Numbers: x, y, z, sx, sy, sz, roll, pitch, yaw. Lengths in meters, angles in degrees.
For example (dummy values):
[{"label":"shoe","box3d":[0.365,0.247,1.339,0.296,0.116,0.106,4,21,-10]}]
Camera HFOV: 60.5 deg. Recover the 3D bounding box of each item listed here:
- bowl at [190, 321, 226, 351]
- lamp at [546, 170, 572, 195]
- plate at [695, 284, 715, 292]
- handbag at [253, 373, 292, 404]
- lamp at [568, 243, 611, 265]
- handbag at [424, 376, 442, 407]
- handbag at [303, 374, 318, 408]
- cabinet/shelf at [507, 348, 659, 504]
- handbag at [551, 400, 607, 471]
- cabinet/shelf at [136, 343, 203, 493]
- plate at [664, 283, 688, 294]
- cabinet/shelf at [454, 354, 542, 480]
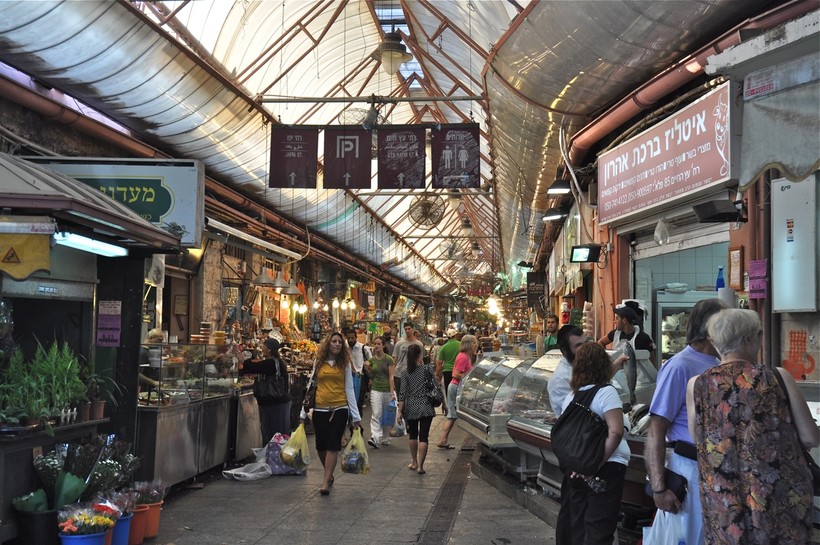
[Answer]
[{"label":"bowl","box3d":[-3.567,1.103,12.319,0.580,0.395,0.606,1,-1,0]},{"label":"lamp","box3d":[2.771,-1.697,13.062,0.429,0.517,0.540,5,-6,3]},{"label":"plate","box3d":[4.293,0.227,10.253,0.243,0.108,0.516,2,-4,22]},{"label":"handbag","box3d":[-2.023,1.718,10.375,0.509,0.536,0.333,0,-4,-8]},{"label":"lamp","box3d":[2.862,-0.339,11.181,0.555,0.338,0.534,3,-4,9]},{"label":"handbag","box3d":[0.332,1.768,10.433,0.227,0.532,0.524,-8,-9,14]},{"label":"handbag","box3d":[-1.225,1.533,9.018,0.096,0.369,0.204,14,-13,-37]},{"label":"cabinet/shelf","box3d":[1.933,1.764,8.344,1.311,1.758,1.823,9,-8,-13]},{"label":"handbag","box3d":[1.350,1.312,5.692,0.249,0.516,0.429,5,19,-43]},{"label":"cabinet/shelf","box3d":[-2.887,1.838,9.263,0.501,1.605,1.610,-2,-8,25]},{"label":"plate","box3d":[3.892,0.231,10.295,0.319,0.171,0.134,2,-4,21]},{"label":"cabinet/shelf","box3d":[1.205,1.913,9.996,0.729,1.004,2.049,10,-4,-7]}]
